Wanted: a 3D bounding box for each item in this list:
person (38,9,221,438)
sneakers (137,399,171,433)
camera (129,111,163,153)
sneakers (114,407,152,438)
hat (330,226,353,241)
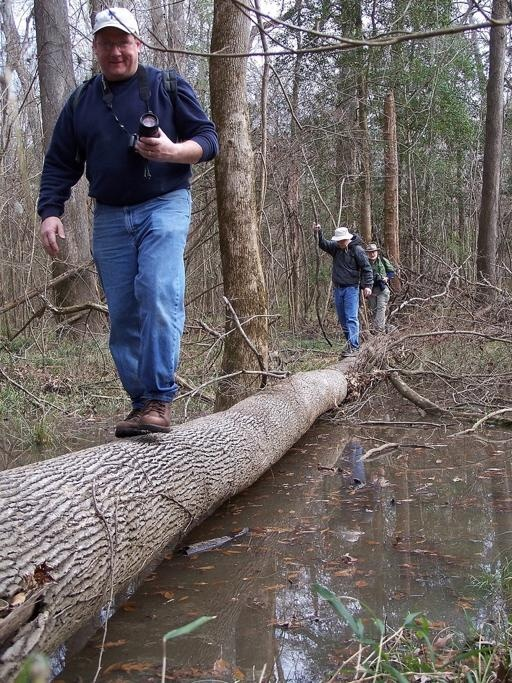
[{"bbox_3d":[-0.639,-0.538,3.056,0.839,1.865,0.525,-3,2,33],"label":"person"},{"bbox_3d":[-0.488,0.365,2.856,0.135,0.140,0.216,-4,2,14],"label":"sneakers"},{"bbox_3d":[-0.489,-0.955,2.698,0.109,0.147,0.145,-5,2,-6],"label":"camera"},{"bbox_3d":[-0.588,0.391,2.904,0.087,0.159,0.248,-2,-16,22],"label":"sneakers"},{"bbox_3d":[1.314,-1.615,9.189,0.252,0.148,0.289,-1,10,23],"label":"hat"}]
